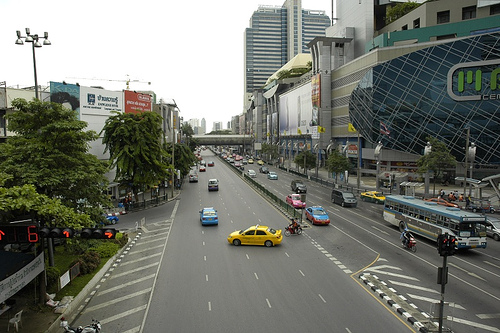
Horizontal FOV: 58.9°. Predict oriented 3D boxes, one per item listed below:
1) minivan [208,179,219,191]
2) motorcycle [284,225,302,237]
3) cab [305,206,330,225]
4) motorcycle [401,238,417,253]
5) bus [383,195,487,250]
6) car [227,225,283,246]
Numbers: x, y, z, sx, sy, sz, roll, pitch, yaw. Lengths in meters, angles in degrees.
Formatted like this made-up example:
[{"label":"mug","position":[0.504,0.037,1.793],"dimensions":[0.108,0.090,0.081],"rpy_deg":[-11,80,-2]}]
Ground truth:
[{"label":"minivan","position":[-6.849,3.617,81.445],"dimensions":[1.704,1.834,2.242],"rpy_deg":[-4,13,-16]},{"label":"motorcycle","position":[4.831,7.613,51.590],"dimensions":[1.561,1.090,1.020],"rpy_deg":[3,-6,-19]},{"label":"cab","position":[8.532,6.354,56.242],"dimensions":[1.888,1.697,3.808],"rpy_deg":[-4,13,-16]},{"label":"motorcycle","position":[16.704,8.048,46.222],"dimensions":[0.494,1.370,1.571],"rpy_deg":[-8,14,-30]},{"label":"bus","position":[20.109,6.008,49.810],"dimensions":[3.242,3.939,12.797],"rpy_deg":[-1,6,-19]},{"label":"car","position":[0.609,7.999,48.436],"dimensions":[5.155,1.915,2.485],"rpy_deg":[3,-1,3]}]
